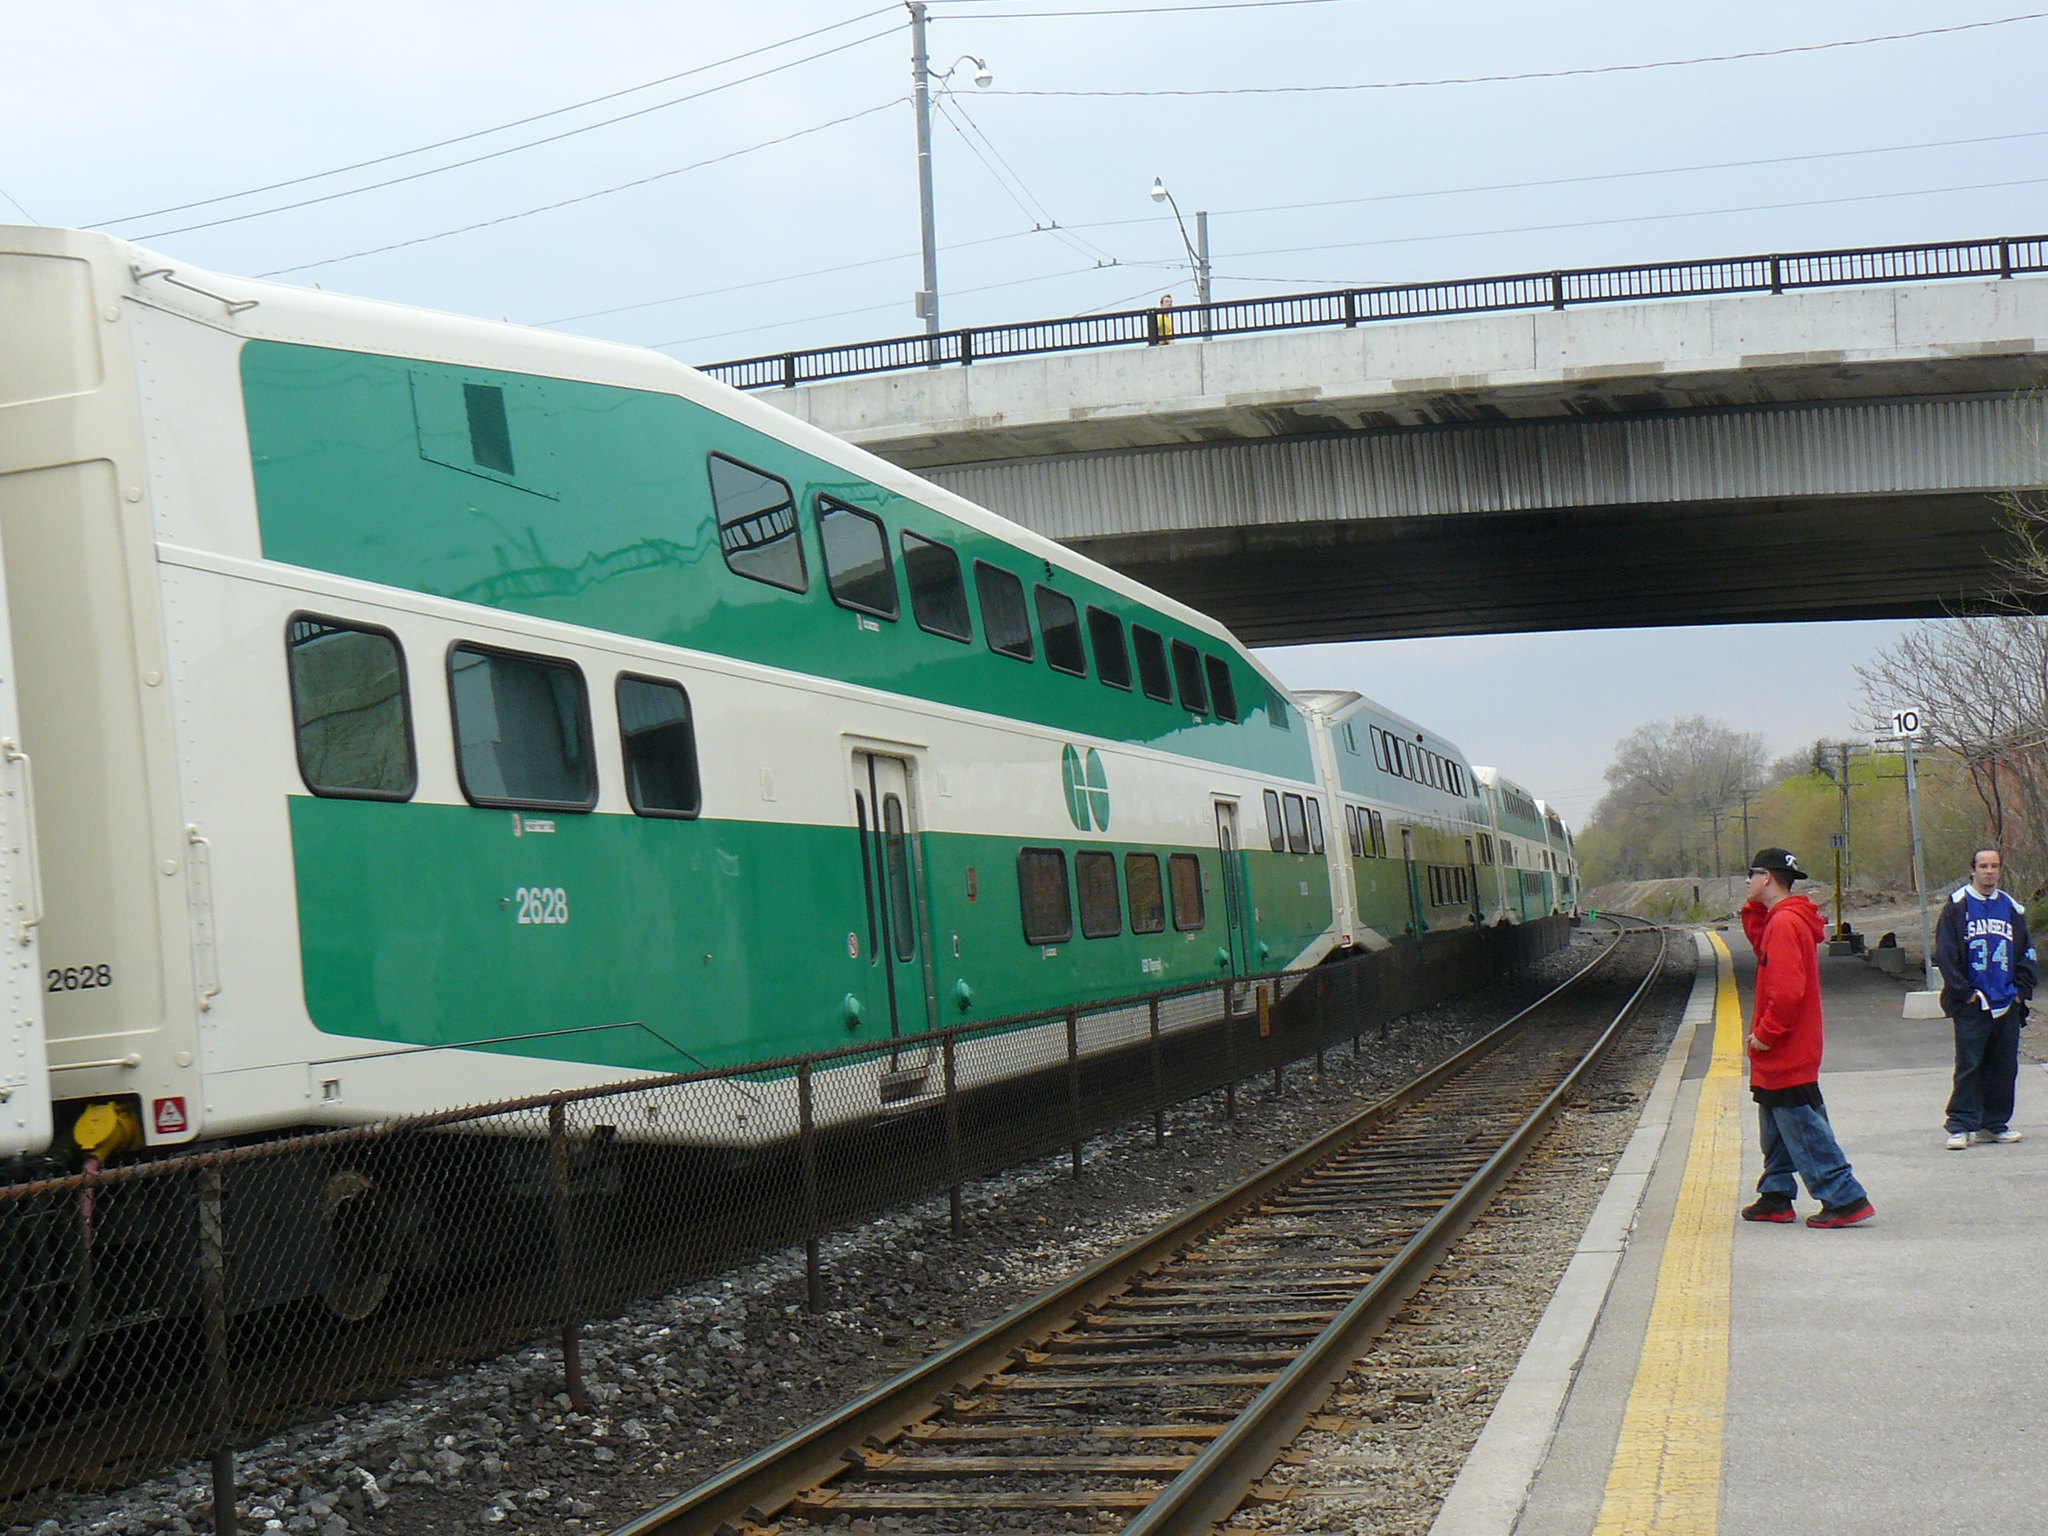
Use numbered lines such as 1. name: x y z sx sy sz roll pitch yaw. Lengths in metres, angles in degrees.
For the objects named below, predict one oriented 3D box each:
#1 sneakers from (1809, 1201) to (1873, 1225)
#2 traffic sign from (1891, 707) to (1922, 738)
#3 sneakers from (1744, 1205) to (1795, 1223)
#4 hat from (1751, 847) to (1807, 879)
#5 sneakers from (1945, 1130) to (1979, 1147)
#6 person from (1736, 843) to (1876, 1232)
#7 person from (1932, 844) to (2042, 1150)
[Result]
1. sneakers: 4.884 2.660 10.368 0.378 0.178 0.144 -11 -2 30
2. traffic sign: 12.028 -0.620 23.682 0.286 0.366 0.538 -7 -4 15
3. sneakers: 4.547 2.702 10.612 0.228 0.099 0.126 5 6 34
4. hat: 4.540 0.552 10.450 0.248 0.157 0.376 5 2 22
5. sneakers: 6.910 2.693 12.782 0.133 0.189 0.471 -6 -12 25
6. person: 4.675 1.601 10.592 0.689 2.122 1.054 -7 -4 25
7. person: 6.949 1.648 12.599 0.667 2.147 1.002 -7 -4 29
